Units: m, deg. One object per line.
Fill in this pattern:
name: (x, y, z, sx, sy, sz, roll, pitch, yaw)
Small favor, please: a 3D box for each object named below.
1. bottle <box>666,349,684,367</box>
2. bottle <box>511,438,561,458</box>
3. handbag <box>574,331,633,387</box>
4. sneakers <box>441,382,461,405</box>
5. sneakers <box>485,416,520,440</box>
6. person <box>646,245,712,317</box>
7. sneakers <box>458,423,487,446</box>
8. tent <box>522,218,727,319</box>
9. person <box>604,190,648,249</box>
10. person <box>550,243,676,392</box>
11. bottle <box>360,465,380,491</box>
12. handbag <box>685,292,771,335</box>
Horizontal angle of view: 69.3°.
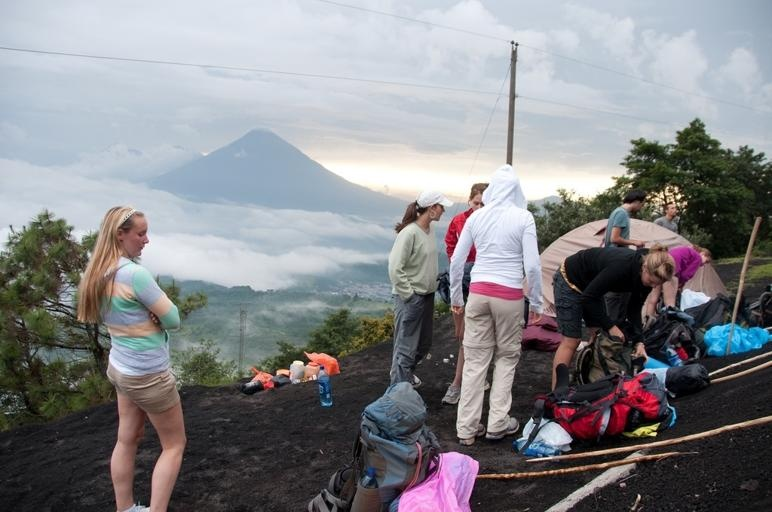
bottle: (4.318, 1.532, 8.320, 0.074, 0.215, 0.098, -31, -12, 35)
bottle: (1.789, 2.265, 6.651, 0.358, 0.112, 0.230, -3, -3, 24)
handbag: (2.865, 1.387, 7.613, 0.665, 0.839, 0.861, 8, 14, 18)
sneakers: (0.932, 2.000, 8.102, 0.160, 0.155, 0.386, -6, 6, 36)
sneakers: (1.475, 2.179, 7.116, 0.499, 0.221, 0.192, -13, 18, -37)
person: (4.906, 0.236, 9.298, 1.052, 0.325, 0.350, -19, 8, -5)
sneakers: (1.085, 2.263, 7.032, 0.164, 0.194, 0.450, 3, 13, 36)
tent: (5.838, 0.304, 12.231, 2.187, 0.888, 2.078, 33, -21, -30)
person: (3.985, -0.624, 9.318, 0.559, 0.984, 0.962, 4, 7, 23)
person: (2.811, 0.653, 7.152, 1.312, 1.636, 0.923, 3, 7, 15)
bottle: (-0.196, 2.360, 5.912, 0.169, 0.216, 0.230, 4, 7, 8)
handbag: (5.775, 0.956, 9.391, 1.061, 0.388, 0.817, 3, -5, -30)
